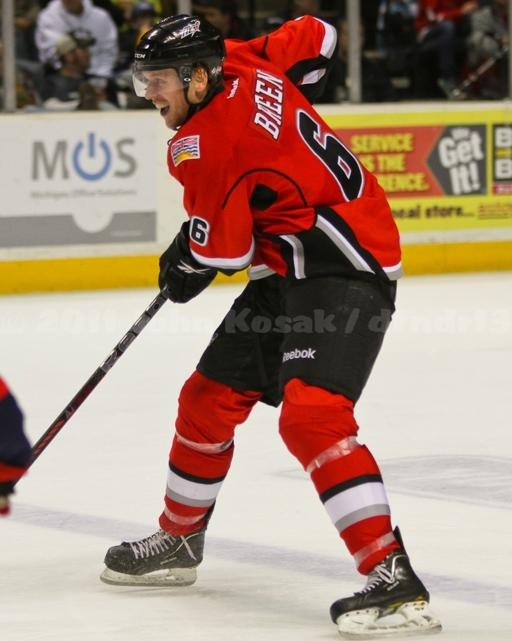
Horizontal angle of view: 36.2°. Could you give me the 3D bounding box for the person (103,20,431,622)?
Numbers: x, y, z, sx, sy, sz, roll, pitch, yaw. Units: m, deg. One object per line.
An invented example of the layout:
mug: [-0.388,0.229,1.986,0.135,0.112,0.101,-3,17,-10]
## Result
person: [0.055,-0.039,1.525,0.494,1.188,0.649,-7,12,-14]

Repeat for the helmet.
helmet: [-0.159,-0.514,1.495,0.199,0.133,0.136,-14,39,-24]

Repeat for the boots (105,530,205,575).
boots: [-0.223,0.516,1.776,0.270,0.112,0.081,3,7,-6]
